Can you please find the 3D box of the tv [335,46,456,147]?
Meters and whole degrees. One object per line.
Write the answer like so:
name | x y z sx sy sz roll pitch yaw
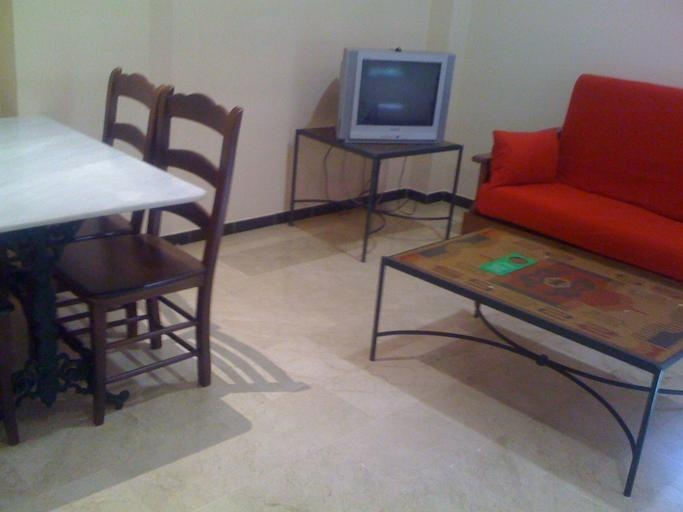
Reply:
tv | 0.345 -1.105 3.837 0.931 0.614 0.927 7 15 37

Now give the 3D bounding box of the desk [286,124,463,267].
desk | 0.267 -0.419 3.970 1.053 0.934 1.135 28 28 26
